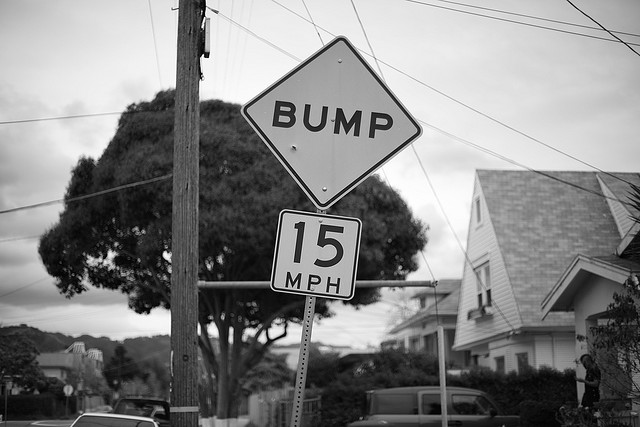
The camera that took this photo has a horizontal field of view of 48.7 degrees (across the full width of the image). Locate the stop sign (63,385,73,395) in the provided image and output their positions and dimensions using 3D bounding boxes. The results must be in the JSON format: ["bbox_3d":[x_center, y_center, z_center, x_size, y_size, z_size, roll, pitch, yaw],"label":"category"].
[{"bbox_3d":[-10.954,7.703,30.573,0.406,0.496,0.102,3,3,-33],"label":"stop sign"}]
